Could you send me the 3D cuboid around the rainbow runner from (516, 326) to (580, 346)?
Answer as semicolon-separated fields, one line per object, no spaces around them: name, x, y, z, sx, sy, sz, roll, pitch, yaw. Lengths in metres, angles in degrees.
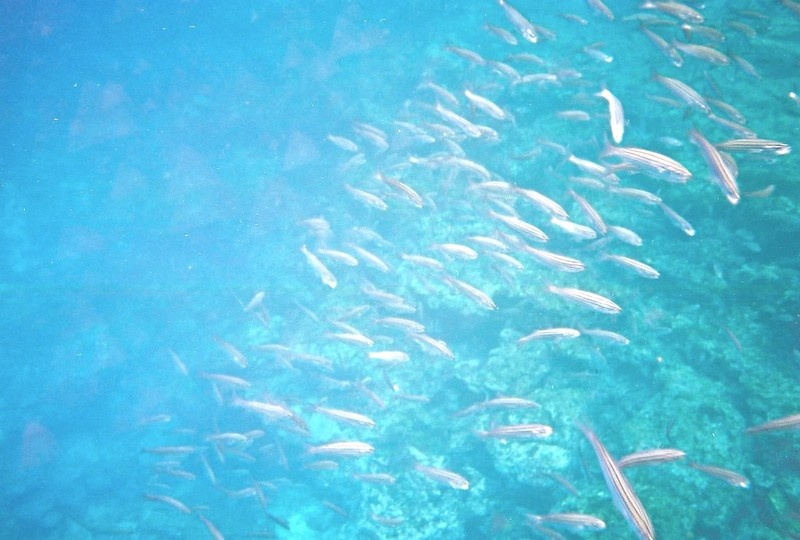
rainbow runner;3.496;1.562;18.990;1.271;0.415;0.268;-3;39;15

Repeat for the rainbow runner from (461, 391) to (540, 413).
rainbow runner;2.425;3.108;19.103;1.823;0.582;0.408;-7;-17;16

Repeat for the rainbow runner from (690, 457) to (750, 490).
rainbow runner;6.828;4.473;17.583;1.265;0.550;0.875;2;10;-29

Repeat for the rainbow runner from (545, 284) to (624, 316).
rainbow runner;4.322;0.710;18.933;1.591;0.510;0.244;19;9;11

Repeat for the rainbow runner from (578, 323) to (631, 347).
rainbow runner;4.705;1.557;18.906;1.142;0.452;1.205;9;9;12
